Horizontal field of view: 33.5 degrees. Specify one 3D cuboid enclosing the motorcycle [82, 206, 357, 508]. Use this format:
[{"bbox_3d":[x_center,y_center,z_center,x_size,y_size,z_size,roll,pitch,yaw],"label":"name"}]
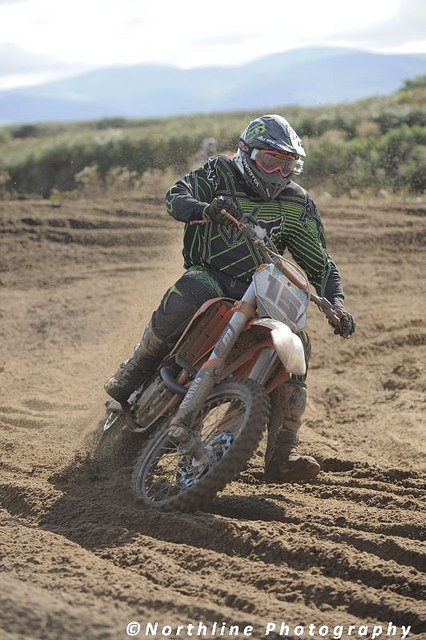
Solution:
[{"bbox_3d":[0.025,0.155,3.351,0.884,1.350,1.274,1,9,-29],"label":"motorcycle"}]
